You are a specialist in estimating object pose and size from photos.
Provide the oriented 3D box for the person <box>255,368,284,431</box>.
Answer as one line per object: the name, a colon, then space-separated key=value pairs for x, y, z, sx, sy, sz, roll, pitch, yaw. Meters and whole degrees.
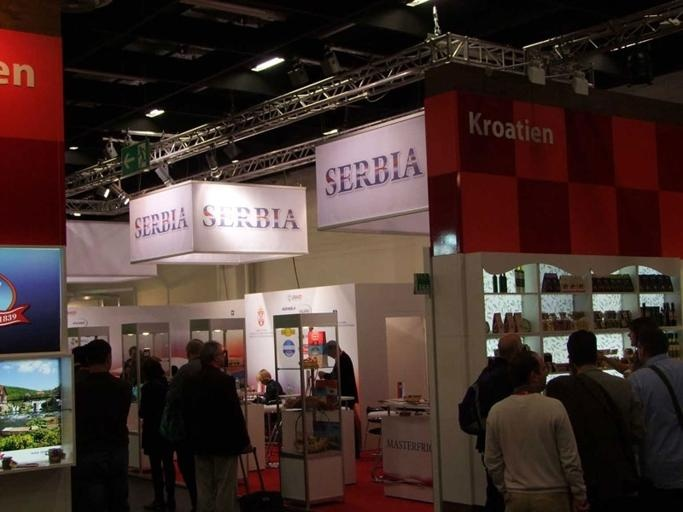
person: x=-1.070 y=2.277 z=9.397 sx=0.525 sy=1.045 sz=0.423 roll=-5 pitch=10 yaw=12

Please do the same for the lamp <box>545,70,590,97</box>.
lamp: x=2.681 y=-1.988 z=7.055 sx=0.366 sy=0.209 sz=0.374 roll=13 pitch=6 yaw=44

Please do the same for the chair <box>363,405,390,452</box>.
chair: x=0.533 y=2.721 z=9.252 sx=0.319 sy=0.479 sz=0.314 roll=12 pitch=-25 yaw=10

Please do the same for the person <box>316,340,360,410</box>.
person: x=-0.029 y=2.226 z=10.091 sx=0.651 sy=1.605 sz=0.572 roll=-4 pitch=7 yaw=-26

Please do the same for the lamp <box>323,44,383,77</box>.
lamp: x=0.174 y=-2.864 z=8.764 sx=1.083 sy=0.436 sz=0.251 roll=-9 pitch=-2 yaw=-21

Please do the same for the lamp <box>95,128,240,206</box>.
lamp: x=-3.266 y=-1.751 z=11.394 sx=3.360 sy=0.884 sz=0.397 roll=-29 pitch=-22 yaw=38
